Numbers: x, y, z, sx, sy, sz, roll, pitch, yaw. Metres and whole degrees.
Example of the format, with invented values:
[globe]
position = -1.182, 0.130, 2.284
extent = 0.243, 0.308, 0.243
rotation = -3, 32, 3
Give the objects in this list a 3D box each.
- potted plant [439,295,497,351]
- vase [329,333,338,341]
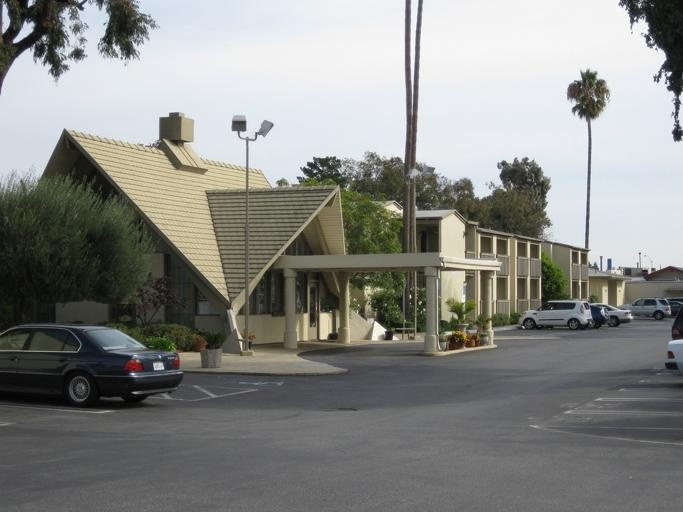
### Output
[potted plant]
position = 5.541, 3.438, 37.529
extent = 1.957, 2.480, 3.293
rotation = -5, -5, 45
[vase]
position = -0.501, 4.089, 41.604
extent = 0.475, 0.344, 0.569
rotation = 0, -9, 2
